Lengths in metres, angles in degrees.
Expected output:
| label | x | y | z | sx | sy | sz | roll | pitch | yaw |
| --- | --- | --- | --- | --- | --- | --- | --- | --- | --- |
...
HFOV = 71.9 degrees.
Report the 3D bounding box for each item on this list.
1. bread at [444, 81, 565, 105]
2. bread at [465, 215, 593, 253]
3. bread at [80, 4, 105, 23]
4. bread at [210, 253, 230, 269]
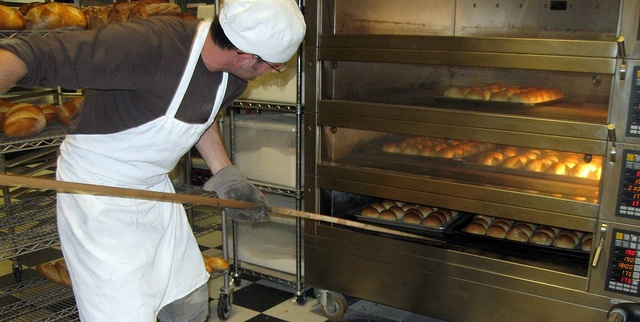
| label | x | y | z | sx | sy | sz | roll | pitch | yaw |
| --- | --- | --- | --- | --- | --- | --- | --- | --- | --- |
| bread | 1.231 | -0.452 | 2.994 | 0.767 | 0.116 | 0.102 | 5 | 19 | 14 |
| bread | 1.504 | 0.530 | 3.198 | 0.555 | 0.066 | 0.355 | 7 | 14 | 23 |
| bread | -1.663 | -1.080 | 3.238 | 0.197 | 0.066 | 0.226 | 5 | 39 | -11 |
| bread | -0.820 | 0.832 | 3.557 | 0.173 | 0.051 | 0.086 | 18 | 32 | -15 |
